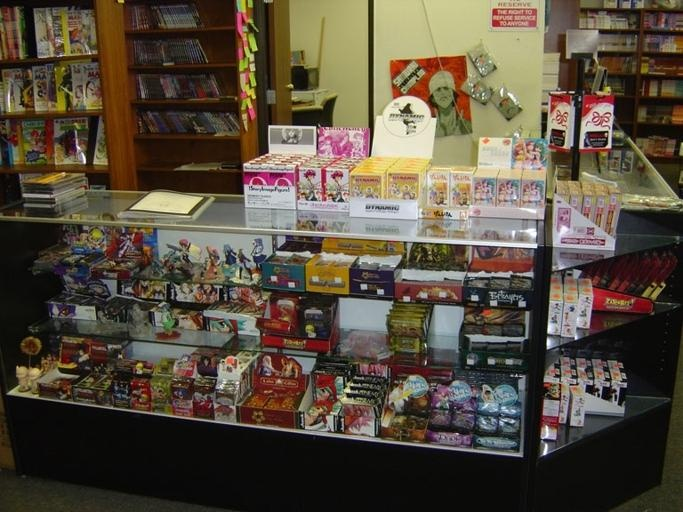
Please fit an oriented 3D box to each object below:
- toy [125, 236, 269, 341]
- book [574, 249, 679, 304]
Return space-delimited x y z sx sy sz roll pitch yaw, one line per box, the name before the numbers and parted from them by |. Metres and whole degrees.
toy | -0.760 0.164 3.027 0.531 0.422 0.170 6 19 14
book | 1.442 0.077 2.791 0.388 0.110 0.290 -14 21 -18
